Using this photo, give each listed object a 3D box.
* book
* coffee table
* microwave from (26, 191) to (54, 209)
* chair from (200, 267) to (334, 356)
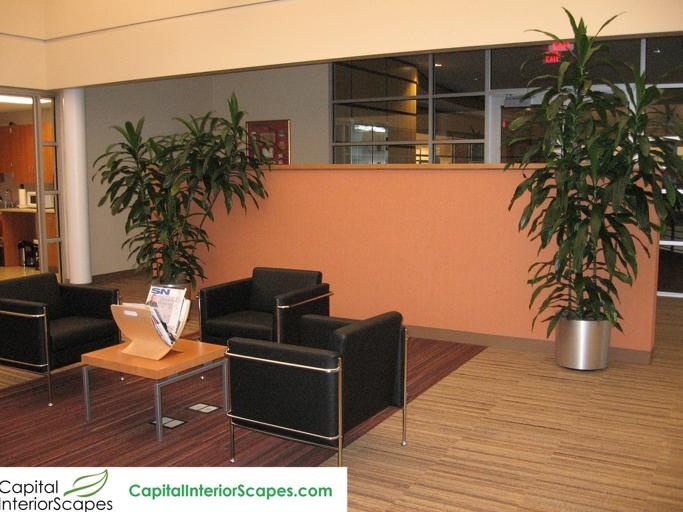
[{"bbox_3d":[-1.403,0.495,4.028,0.375,0.505,0.182,-1,-8,28],"label":"book"},{"bbox_3d":[-1.448,1.032,4.304,1.022,0.569,0.840,4,10,25],"label":"coffee table"},{"bbox_3d":[-5.070,-0.963,8.936,0.484,0.321,0.254,0,-1,14],"label":"microwave"},{"bbox_3d":[-0.695,0.499,5.301,0.917,0.823,0.886,3,4,29],"label":"chair"}]
